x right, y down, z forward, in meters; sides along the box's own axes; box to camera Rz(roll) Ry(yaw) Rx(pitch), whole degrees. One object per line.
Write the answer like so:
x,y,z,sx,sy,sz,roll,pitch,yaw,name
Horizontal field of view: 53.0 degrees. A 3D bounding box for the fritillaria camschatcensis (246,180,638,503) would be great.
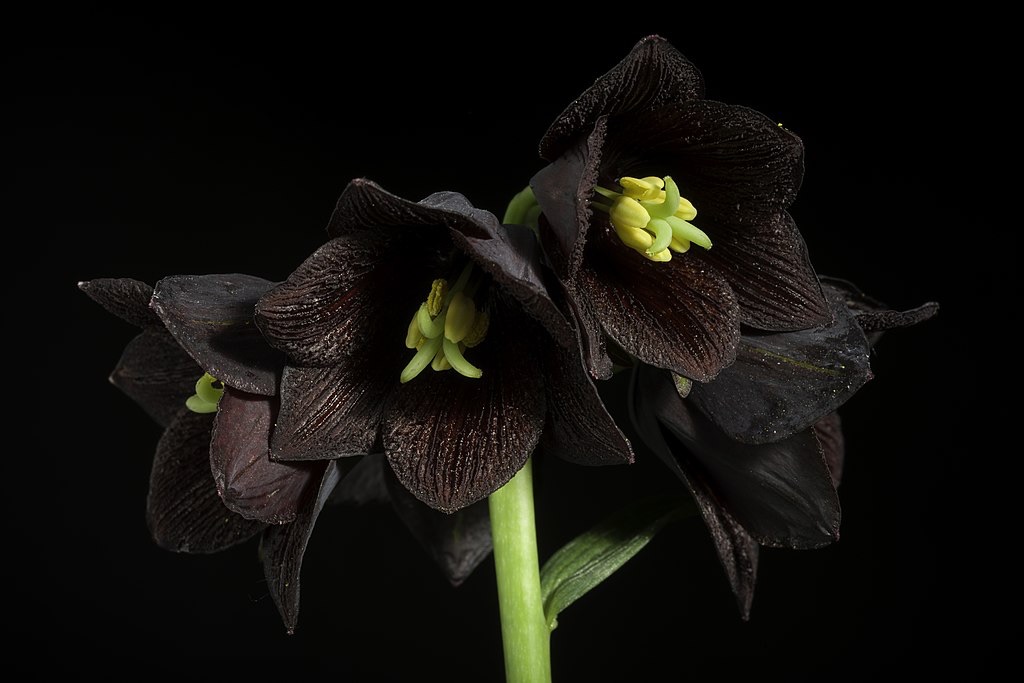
-0.095,0.015,1.596,0.488,0.487,0.283,-19,26,14,fritillaria camschatcensis
